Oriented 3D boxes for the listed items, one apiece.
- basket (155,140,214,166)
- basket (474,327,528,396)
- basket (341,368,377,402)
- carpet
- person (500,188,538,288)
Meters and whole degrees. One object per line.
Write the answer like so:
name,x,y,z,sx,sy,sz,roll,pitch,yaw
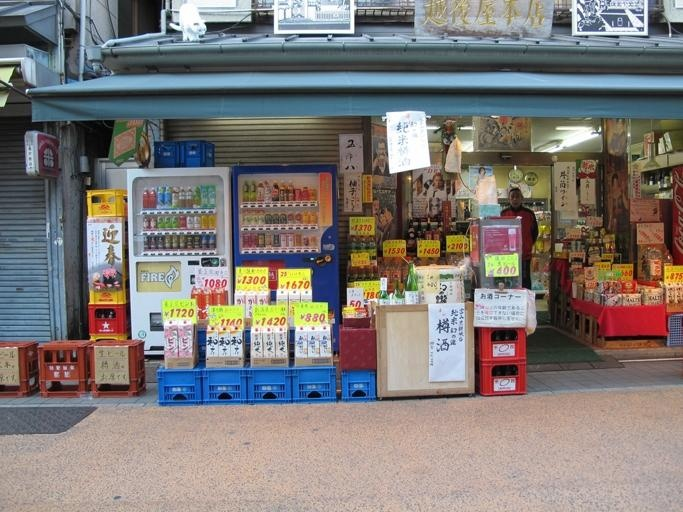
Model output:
basket,-2.484,-1.619,11.785,0.931,0.420,0.484,-2,12,-18
basket,2.137,1.405,9.832,0.739,1.190,0.770,-1,-2,0
basket,0.241,1.660,9.808,0.433,0.460,0.379,-1,-4,1
carpet,3.450,1.462,11.572,1.061,0.120,1.684,5,13,12
person,2.919,-0.227,12.135,0.550,1.690,1.155,4,11,13
